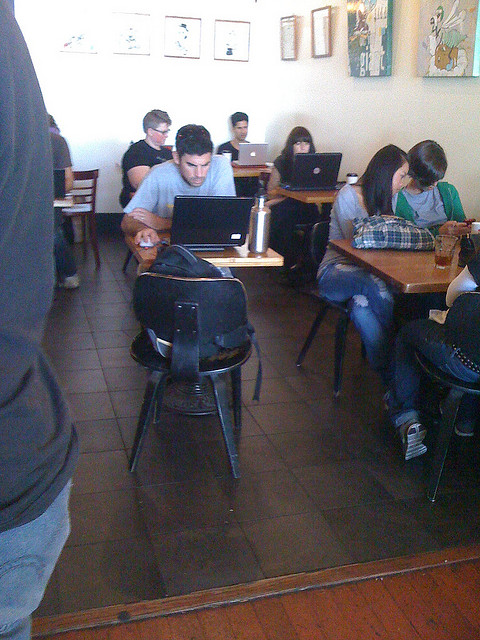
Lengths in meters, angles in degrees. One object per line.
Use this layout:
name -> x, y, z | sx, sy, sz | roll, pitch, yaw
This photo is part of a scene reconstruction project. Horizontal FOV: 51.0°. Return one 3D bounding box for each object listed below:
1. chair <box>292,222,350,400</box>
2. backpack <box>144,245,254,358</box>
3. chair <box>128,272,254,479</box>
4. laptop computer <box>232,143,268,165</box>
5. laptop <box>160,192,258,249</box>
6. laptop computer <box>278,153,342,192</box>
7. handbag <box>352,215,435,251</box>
chair -> 0.530, -0.095, 2.923 | 0.354, 0.795, 0.373 | 16, 29, 33
backpack -> -0.164, -0.069, 1.788 | 0.312, 0.451, 0.163 | 10, 33, 17
chair -> -0.195, 0.178, 1.981 | 0.487, 0.824, 0.394 | 1, 22, 0
laptop computer -> 0.130, -1.826, 5.553 | 0.312, 0.227, 0.232 | 0, 22, -9
laptop -> -0.178, -0.510, 2.415 | 0.387, 0.260, 0.268 | -6, 37, -26
laptop computer -> 0.653, -1.297, 4.419 | 0.423, 0.318, 0.356 | -2, 21, -12
handbag -> 0.760, -0.430, 2.509 | 0.283, 0.093, 0.220 | 2, 22, -10
